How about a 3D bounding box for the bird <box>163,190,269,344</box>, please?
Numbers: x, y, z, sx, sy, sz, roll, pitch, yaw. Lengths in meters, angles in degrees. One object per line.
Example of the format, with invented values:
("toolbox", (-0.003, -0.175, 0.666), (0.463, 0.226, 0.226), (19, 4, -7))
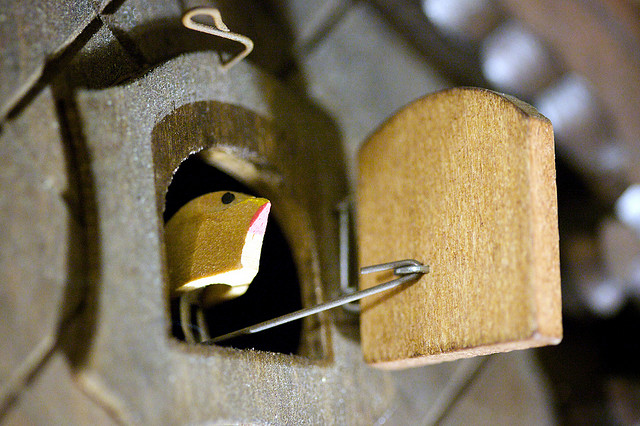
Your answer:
("bird", (-0.187, 0.087, 1.636), (0.164, 0.092, 0.256), (12, 78, -7))
